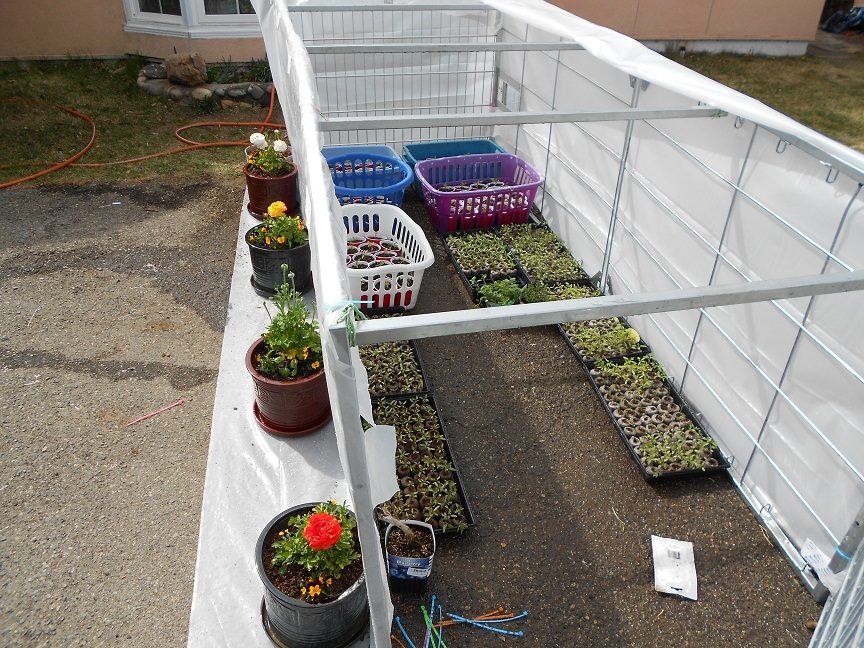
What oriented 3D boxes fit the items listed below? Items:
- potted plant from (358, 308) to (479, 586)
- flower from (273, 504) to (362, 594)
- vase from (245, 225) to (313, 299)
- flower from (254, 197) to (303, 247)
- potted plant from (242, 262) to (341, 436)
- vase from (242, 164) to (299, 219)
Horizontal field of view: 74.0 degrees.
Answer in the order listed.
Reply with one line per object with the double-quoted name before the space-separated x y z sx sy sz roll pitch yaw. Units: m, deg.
"potted plant" -0.118 0.609 3.441 0.619 0.223 1.354 -5 57 -19
"flower" -0.485 0.945 2.405 0.311 0.125 0.350 1 49 -3
"vase" -1.030 -0.408 4.136 0.508 0.376 0.479 6 38 4
"flower" -1.079 -0.671 4.140 0.344 0.212 0.364 -5 49 -14
"potted plant" -0.811 0.210 3.148 0.420 0.721 0.431 -13 38 -19
"vase" -1.330 -1.147 4.877 0.496 0.370 0.503 14 30 23
